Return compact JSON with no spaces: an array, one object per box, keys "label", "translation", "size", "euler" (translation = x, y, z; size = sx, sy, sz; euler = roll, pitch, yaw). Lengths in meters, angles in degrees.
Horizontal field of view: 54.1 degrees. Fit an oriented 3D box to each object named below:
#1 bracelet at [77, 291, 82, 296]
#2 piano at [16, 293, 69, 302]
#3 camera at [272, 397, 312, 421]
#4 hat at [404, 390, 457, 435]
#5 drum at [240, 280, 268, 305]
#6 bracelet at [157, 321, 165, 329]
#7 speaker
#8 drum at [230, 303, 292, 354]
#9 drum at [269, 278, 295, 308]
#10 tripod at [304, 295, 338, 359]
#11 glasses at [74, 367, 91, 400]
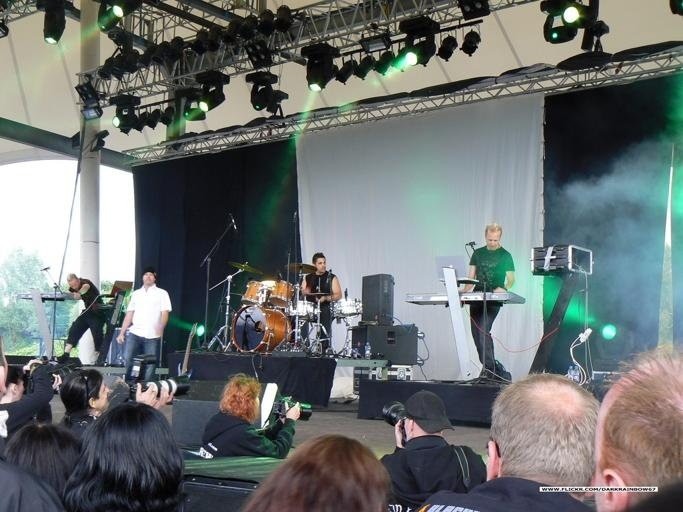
[{"label":"bracelet","translation":[-3.389,0.473,8.582],"size":[0.045,0.039,0.047],"euler":[-1,-2,1]},{"label":"piano","translation":[-3.694,0.497,8.187],"size":[0.679,0.114,0.414],"euler":[-2,-6,25]},{"label":"camera","translation":[-0.284,0.866,3.858],"size":[0.220,0.134,0.209],"euler":[18,-11,-32]},{"label":"hat","translation":[0.338,0.702,3.041],"size":[0.207,0.169,0.298],"euler":[20,-15,-32]},{"label":"drum","translation":[-1.065,0.414,8.217],"size":[0.285,0.215,0.287],"euler":[2,-26,1]},{"label":"bracelet","translation":[-2.106,0.802,7.772],"size":[0.075,0.086,0.076],"euler":[6,-15,-33]},{"label":"speaker","translation":[-0.954,1.117,4.475],"size":[0.279,0.298,0.300],"euler":[-1,-3,3]},{"label":"drum","translation":[-1.024,0.897,8.231],"size":[0.659,0.599,0.469],"euler":[0,-8,39]},{"label":"drum","translation":[-0.733,0.472,8.232],"size":[0.291,0.282,0.302],"euler":[14,-28,0]},{"label":"tripod","translation":[-0.239,0.934,8.523],"size":[0.513,0.682,0.554],"euler":[4,6,14]},{"label":"glasses","translation":[-1.266,0.616,3.261],"size":[0.080,0.114,0.048],"euler":[-1,-20,0]}]
